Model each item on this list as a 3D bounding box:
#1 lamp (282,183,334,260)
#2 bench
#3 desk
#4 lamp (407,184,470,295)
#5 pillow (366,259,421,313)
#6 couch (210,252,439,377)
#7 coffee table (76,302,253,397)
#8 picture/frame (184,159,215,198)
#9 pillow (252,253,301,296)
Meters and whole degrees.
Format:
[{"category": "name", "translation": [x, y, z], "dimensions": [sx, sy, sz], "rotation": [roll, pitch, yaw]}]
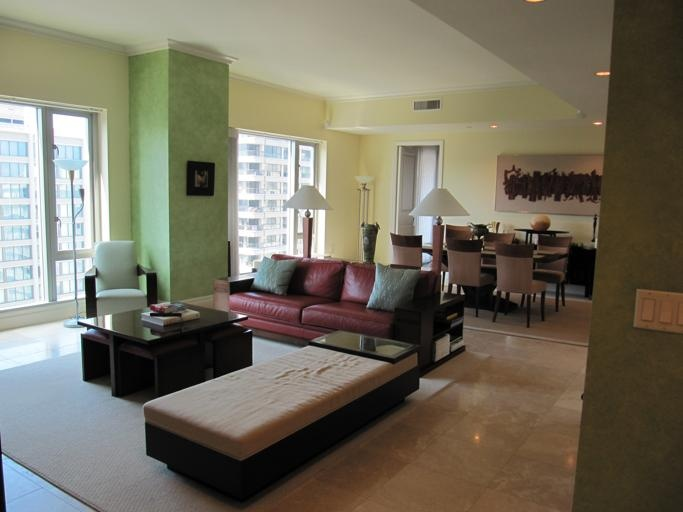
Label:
[{"category": "lamp", "translation": [-0.419, -0.403, 6.490], "dimensions": [0.590, 0.877, 0.555], "rotation": [1, 2, 9]}, {"category": "bench", "translation": [-0.347, 1.026, 3.557], "dimensions": [0.754, 0.451, 1.685], "rotation": [12, 16, 42]}, {"category": "desk", "translation": [3.232, 0.180, 8.049], "dimensions": [0.899, 0.908, 0.868], "rotation": [-8, -1, 10]}, {"category": "lamp", "translation": [1.197, -0.295, 6.468], "dimensions": [0.731, 0.988, 0.715], "rotation": [1, -8, 17]}, {"category": "pillow", "translation": [0.491, 0.320, 5.085], "dimensions": [0.484, 0.410, 0.244], "rotation": [7, 12, 36]}, {"category": "couch", "translation": [-0.144, 0.510, 5.505], "dimensions": [2.563, 0.857, 0.829], "rotation": [5, 6, 35]}, {"category": "coffee table", "translation": [-1.476, 0.792, 4.520], "dimensions": [1.116, 0.482, 1.107], "rotation": [5, 8, 41]}, {"category": "picture/frame", "translation": [-1.784, -0.975, 6.548], "dimensions": [0.050, 0.477, 0.517], "rotation": [4, 4, 33]}, {"category": "pillow", "translation": [-0.749, 0.219, 5.831], "dimensions": [0.510, 0.376, 0.221], "rotation": [7, 4, 34]}]
